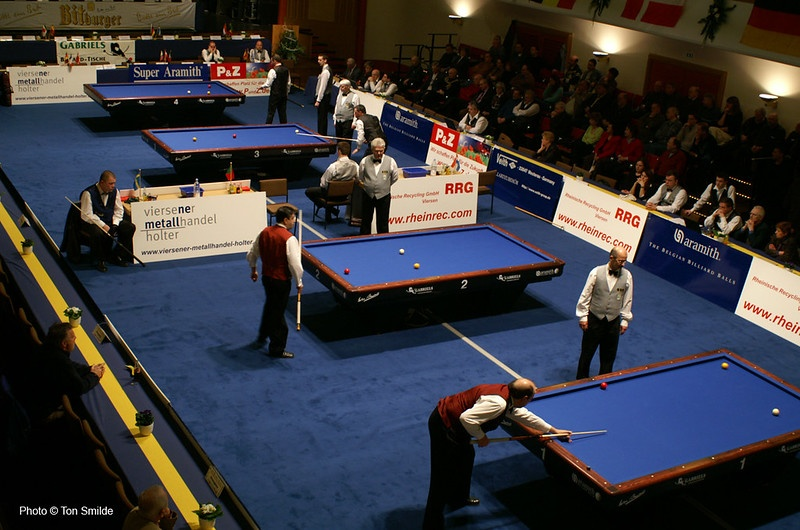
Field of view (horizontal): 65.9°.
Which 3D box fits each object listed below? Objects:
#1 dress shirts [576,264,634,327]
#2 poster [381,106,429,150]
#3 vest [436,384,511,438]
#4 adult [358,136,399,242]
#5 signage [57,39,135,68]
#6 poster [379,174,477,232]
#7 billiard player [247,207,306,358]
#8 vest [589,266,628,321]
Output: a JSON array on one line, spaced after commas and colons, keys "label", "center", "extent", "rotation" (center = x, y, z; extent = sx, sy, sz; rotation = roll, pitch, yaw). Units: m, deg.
[{"label": "dress shirts", "center": [3.209, 0.512, 9.577], "extent": [1.135, 1.155, 0.495], "rotation": [2, 8, 2]}, {"label": "poster", "center": [0.162, -4.121, 18.522], "extent": [0.086, 1.539, 2.471], "rotation": [-13, 29, -29]}, {"label": "vest", "center": [0.968, 1.681, 7.432], "extent": [1.026, 0.575, 0.746], "rotation": [-12, 3, 16]}, {"label": "adult", "center": [-0.427, -1.532, 12.631], "extent": [0.808, 2.201, 0.693], "rotation": [3, 34, 0]}, {"label": "signage", "center": [-11.045, -7.593, 21.986], "extent": [1.877, 0.613, 0.243], "rotation": [-9, 21, -30]}, {"label": "poster", "center": [0.573, -1.664, 14.710], "extent": [2.551, 1.207, 1.342], "rotation": [-9, 24, -20]}, {"label": "billiard player", "center": [-1.973, 0.293, 9.751], "extent": [0.812, 2.408, 0.677], "rotation": [0, 27, -5]}, {"label": "vest", "center": [3.136, 0.416, 9.255], "extent": [0.766, 0.910, 0.497], "rotation": [2, 8, 6]}]
